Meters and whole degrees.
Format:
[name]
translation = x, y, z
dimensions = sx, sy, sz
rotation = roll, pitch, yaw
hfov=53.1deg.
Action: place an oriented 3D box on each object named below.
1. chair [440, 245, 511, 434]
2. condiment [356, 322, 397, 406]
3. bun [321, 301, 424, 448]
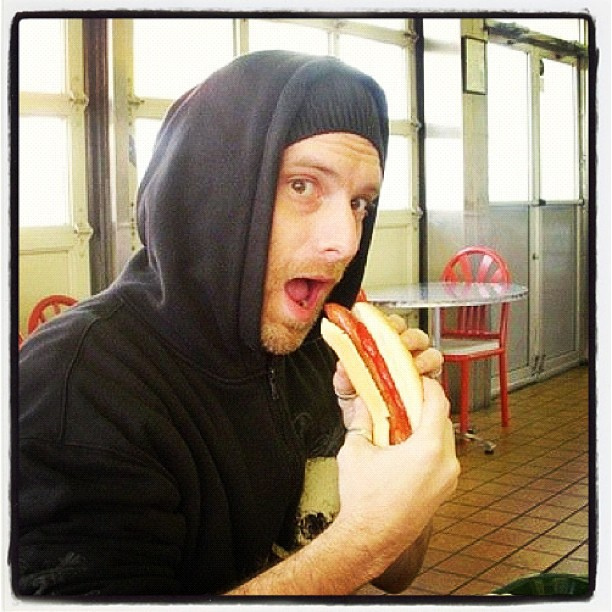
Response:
[chair]
translation = 0.513, 0.088, 1.957
dimensions = 0.212, 0.601, 0.237
rotation = 0, 11, 8
[condiment]
translation = 0.223, 0.185, 1.872
dimensions = 0.091, 0.246, 0.123
rotation = 6, 10, 22
[bun]
translation = 0.201, 0.133, 1.864
dimensions = 0.235, 0.502, 0.122
rotation = -20, 2, 7
